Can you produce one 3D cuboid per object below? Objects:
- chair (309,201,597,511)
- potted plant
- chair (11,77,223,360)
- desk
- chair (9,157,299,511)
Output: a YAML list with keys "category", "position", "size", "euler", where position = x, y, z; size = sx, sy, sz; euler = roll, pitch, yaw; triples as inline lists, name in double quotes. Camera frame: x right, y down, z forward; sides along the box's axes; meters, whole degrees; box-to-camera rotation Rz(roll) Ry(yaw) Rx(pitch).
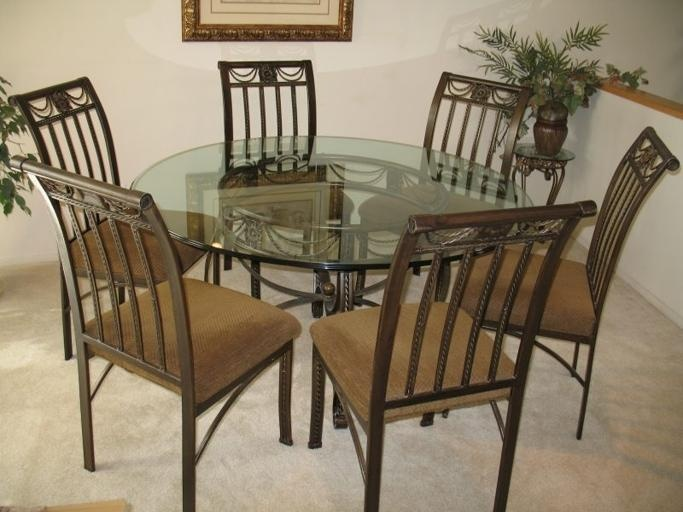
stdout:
- category: "chair"
  position: [0.308, 0.314, 1.920]
  size: [0.694, 1.190, 0.646]
  euler: [-8, 24, -24]
- category: "potted plant"
  position: [1.507, -1.098, 3.781]
  size: [0.976, 0.798, 1.259]
  euler: [8, 5, -7]
- category: "chair"
  position: [-1.087, -0.174, 2.664]
  size: [0.805, 1.191, 0.693]
  euler: [12, 31, -3]
- category: "desk"
  position: [-0.168, 0.317, 2.508]
  size: [1.392, 0.772, 1.490]
  euler: [2, 37, -1]
- category: "chair"
  position: [-0.617, 0.255, 1.986]
  size: [0.715, 1.238, 0.645]
  euler: [15, 25, 29]
